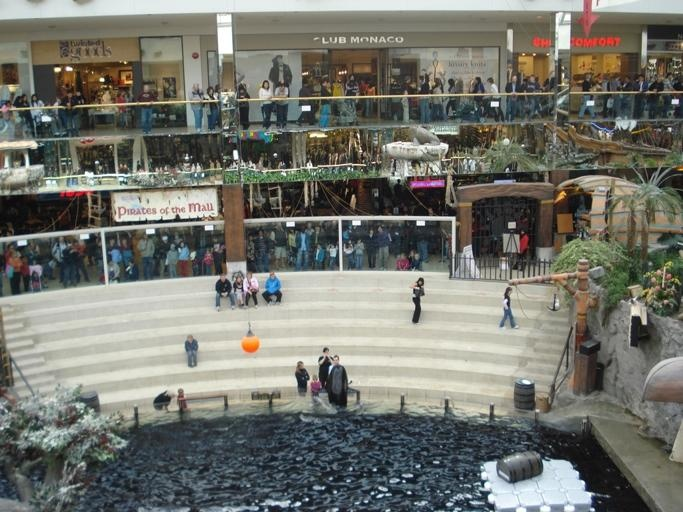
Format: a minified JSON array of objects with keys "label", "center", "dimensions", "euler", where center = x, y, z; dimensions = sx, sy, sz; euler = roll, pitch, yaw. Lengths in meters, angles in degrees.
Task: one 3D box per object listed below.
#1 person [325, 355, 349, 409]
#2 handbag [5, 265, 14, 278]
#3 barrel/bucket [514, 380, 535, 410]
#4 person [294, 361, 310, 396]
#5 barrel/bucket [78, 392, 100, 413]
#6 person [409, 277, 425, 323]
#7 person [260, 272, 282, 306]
[{"label":"person","center":[-0.174,4.436,27.122],"dimensions":[0.721,1.618,0.701],"euler":[0,13,8]},{"label":"handbag","center":[-13.836,0.613,31.613],"dimensions":[0.300,0.501,0.114],"euler":[2,-1,-21]},{"label":"barrel/bucket","center":[6.280,4.777,26.112],"dimensions":[0.791,1.009,0.829],"euler":[-1,6,0]},{"label":"person","center":[-1.461,4.376,27.800],"dimensions":[0.483,1.184,0.388],"euler":[-1,13,6]},{"label":"barrel/bucket","center":[-8.755,5.066,26.529],"dimensions":[0.667,0.770,0.547],"euler":[2,17,-5]},{"label":"person","center":[3.073,1.850,30.859],"dimensions":[0.459,1.855,1.597],"euler":[1,0,3]},{"label":"person","center":[-2.903,1.381,32.381],"dimensions":[1.106,1.960,1.044],"euler":[0,7,-2]}]
